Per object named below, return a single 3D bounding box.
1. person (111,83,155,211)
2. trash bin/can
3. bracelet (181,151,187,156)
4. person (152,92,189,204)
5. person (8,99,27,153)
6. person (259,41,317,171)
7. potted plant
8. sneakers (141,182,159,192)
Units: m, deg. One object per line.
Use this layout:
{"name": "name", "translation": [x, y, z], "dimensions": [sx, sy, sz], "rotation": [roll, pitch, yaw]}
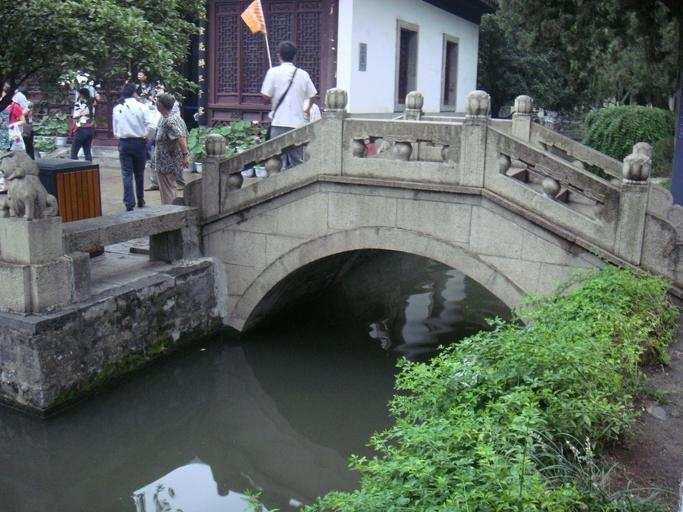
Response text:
{"name": "person", "translation": [-3.226, -1.688, 10.599], "dimensions": [0.428, 1.917, 0.536], "rotation": [10, 14, 37]}
{"name": "trash bin/can", "translation": [-3.451, -0.857, 8.784], "dimensions": [0.302, 0.725, 0.767], "rotation": [9, 14, 33]}
{"name": "bracelet", "translation": [-2.265, -1.493, 9.936], "dimensions": [0.069, 0.052, 0.126], "rotation": [-1, 13, -11]}
{"name": "person", "translation": [-2.518, -1.531, 10.112], "dimensions": [0.490, 1.695, 1.404], "rotation": [-2, 12, -15]}
{"name": "person", "translation": [-5.781, -2.411, 12.294], "dimensions": [0.364, 0.996, 0.587], "rotation": [-7, 14, -36]}
{"name": "person", "translation": [-0.781, -1.864, 9.512], "dimensions": [0.755, 2.098, 0.641], "rotation": [0, 4, -21]}
{"name": "potted plant", "translation": [-2.325, -2.211, 13.935], "dimensions": [1.968, 1.125, 0.886], "rotation": [13, 17, 42]}
{"name": "sneakers", "translation": [-3.554, -1.298, 12.743], "dimensions": [0.444, 0.202, 0.160], "rotation": [5, 8, 17]}
